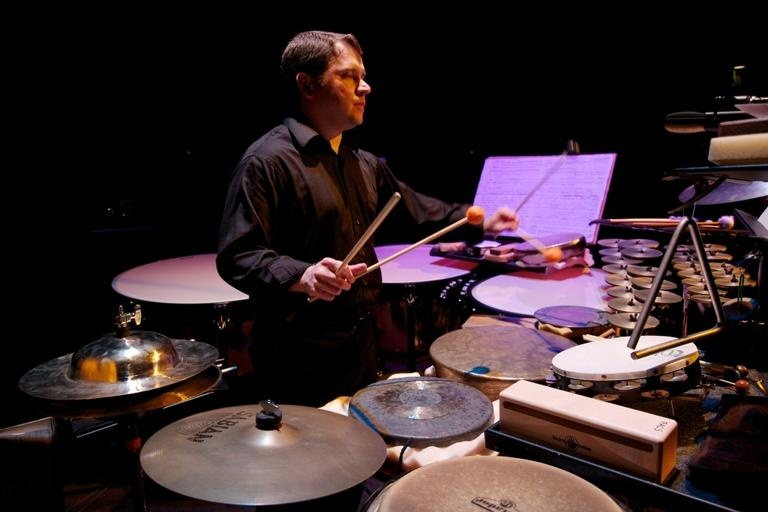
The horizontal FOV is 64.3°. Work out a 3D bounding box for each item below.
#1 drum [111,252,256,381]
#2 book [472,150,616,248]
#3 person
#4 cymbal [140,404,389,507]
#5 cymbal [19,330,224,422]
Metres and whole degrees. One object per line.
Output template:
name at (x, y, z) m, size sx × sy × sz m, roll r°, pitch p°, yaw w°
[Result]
drum at (-1.382, 0.307, 4.210) m, size 1.000 × 0.514 × 0.972 m, roll 1°, pitch 12°, yaw 0°
book at (1.111, -0.395, 4.274) m, size 1.009 × 0.551 × 0.079 m, roll 7°, pitch -27°, yaw 37°
person at (-0.335, -0.222, 3.694) m, size 0.931 × 2.184 × 1.406 m, roll 9°, pitch 22°, yaw 21°
cymbal at (-0.492, 0.768, 2.463) m, size 0.992 × 0.230 × 0.446 m, roll 0°, pitch 18°, yaw -2°
cymbal at (-1.343, 0.593, 2.993) m, size 0.646 × 0.163 × 0.564 m, roll 2°, pitch 11°, yaw 2°
